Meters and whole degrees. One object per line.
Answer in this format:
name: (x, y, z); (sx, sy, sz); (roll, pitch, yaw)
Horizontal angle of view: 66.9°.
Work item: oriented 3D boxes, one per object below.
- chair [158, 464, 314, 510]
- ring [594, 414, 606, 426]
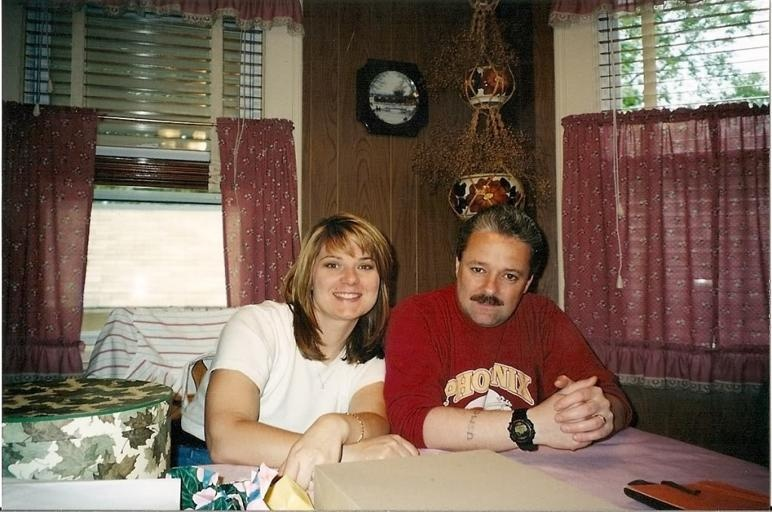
chair: (-0.408, 0.660, 1.641); (0.411, 0.127, 0.154); (-1, 2, -6)
ring: (0.741, 0.568, 2.016); (0.033, 0.014, 0.038); (24, 1, 6)
